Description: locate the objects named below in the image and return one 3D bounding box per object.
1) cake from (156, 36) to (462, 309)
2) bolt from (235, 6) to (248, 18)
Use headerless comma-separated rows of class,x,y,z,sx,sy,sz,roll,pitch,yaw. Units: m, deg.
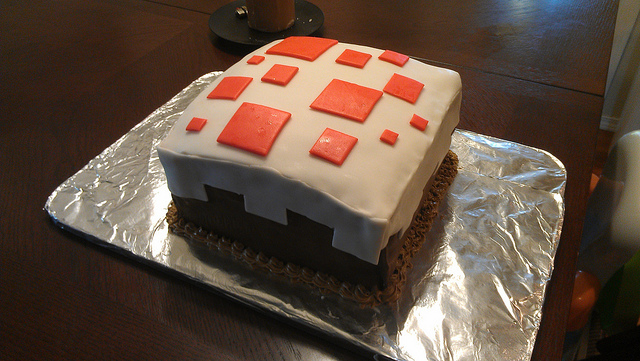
cake,-0.054,-0.093,1.505,0.762,0.402,0.817,17,55,18
bolt,-0.308,-0.667,2.051,0.048,0.022,0.048,-34,64,-18
